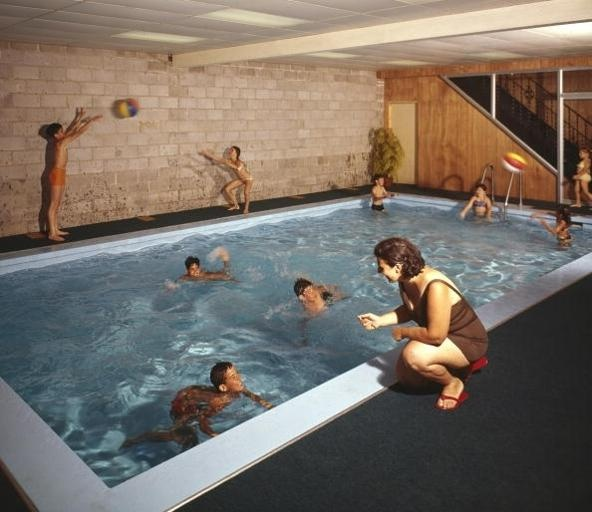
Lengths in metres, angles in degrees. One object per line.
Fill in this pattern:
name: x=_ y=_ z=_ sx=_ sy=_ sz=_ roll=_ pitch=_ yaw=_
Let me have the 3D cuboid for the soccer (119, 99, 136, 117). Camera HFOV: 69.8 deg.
soccer: x=-3.350 y=-2.985 z=8.599 sx=0.214 sy=0.322 sz=0.389 roll=12 pitch=3 yaw=42

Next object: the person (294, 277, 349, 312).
person: x=0.302 y=0.411 z=5.453 sx=0.389 sy=0.425 sz=0.878 roll=9 pitch=19 yaw=34

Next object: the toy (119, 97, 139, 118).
toy: x=-3.376 y=-3.005 z=8.585 sx=0.342 sy=0.309 sz=0.389 roll=-32 pitch=2 yaw=22

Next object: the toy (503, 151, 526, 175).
toy: x=4.808 y=-2.096 z=9.448 sx=0.527 sy=0.338 sz=0.521 roll=19 pitch=5 yaw=36

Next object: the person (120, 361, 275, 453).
person: x=-0.722 y=1.091 z=3.129 sx=0.746 sy=0.444 sz=0.763 roll=7 pitch=18 yaw=29

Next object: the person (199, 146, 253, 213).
person: x=-1.558 y=-1.838 z=9.895 sx=1.005 sy=1.430 sz=1.564 roll=-6 pitch=17 yaw=-9

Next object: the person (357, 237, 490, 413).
person: x=0.783 y=0.390 z=2.617 sx=0.569 sy=1.063 sz=0.472 roll=11 pitch=23 yaw=38

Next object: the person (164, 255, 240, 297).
person: x=-1.420 y=0.146 z=6.351 sx=1.184 sy=0.446 sz=0.689 roll=-13 pitch=19 yaw=-35

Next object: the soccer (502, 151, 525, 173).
soccer: x=4.790 y=-2.106 z=9.435 sx=0.502 sy=0.307 sz=0.491 roll=19 pitch=5 yaw=33

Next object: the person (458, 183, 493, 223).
person: x=4.004 y=-1.105 z=9.310 sx=0.759 sy=0.753 sz=0.607 roll=-18 pitch=26 yaw=-38
